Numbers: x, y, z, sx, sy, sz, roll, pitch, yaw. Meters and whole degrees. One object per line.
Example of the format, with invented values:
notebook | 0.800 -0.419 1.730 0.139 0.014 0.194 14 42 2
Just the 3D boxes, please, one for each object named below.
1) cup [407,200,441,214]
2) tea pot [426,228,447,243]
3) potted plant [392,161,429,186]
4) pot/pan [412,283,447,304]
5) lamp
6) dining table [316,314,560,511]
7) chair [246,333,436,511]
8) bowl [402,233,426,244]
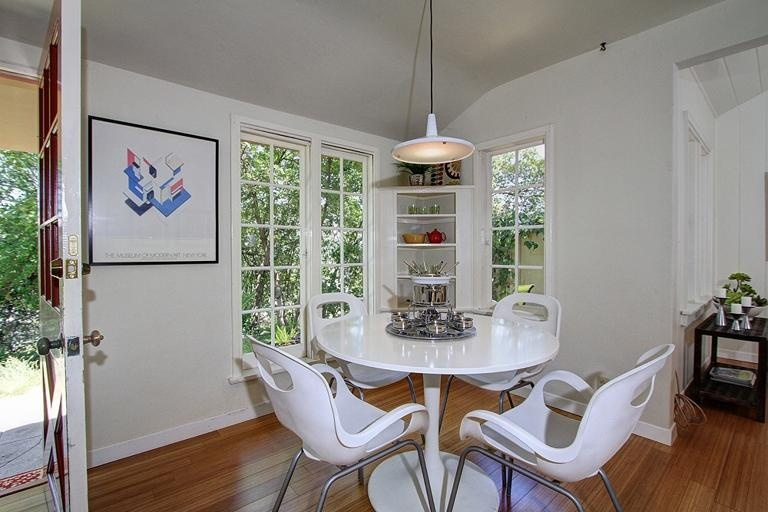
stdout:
cup | 0.433 -0.516 5.223 0.350 0.160 0.374 -3 -1 0
tea pot | 0.557 -0.204 5.142 0.216 0.160 0.264 -3 -1 3
potted plant | 0.298 -0.877 5.228 0.348 0.255 0.211 -3 -1 45
pot/pan | 0.352 0.292 3.683 0.244 0.154 0.090 -3 0 5
lamp | 0.350 -1.386 4.132 0.631 1.236 1.266 -3 0 -1
dining table | 0.292 1.016 3.483 1.407 0.964 1.396 -1 1 -35
chair | -0.301 1.206 3.411 1.031 1.416 1.010 -6 10 -35
bowl | 0.324 -0.177 5.193 0.276 0.116 0.339 -3 -1 2
